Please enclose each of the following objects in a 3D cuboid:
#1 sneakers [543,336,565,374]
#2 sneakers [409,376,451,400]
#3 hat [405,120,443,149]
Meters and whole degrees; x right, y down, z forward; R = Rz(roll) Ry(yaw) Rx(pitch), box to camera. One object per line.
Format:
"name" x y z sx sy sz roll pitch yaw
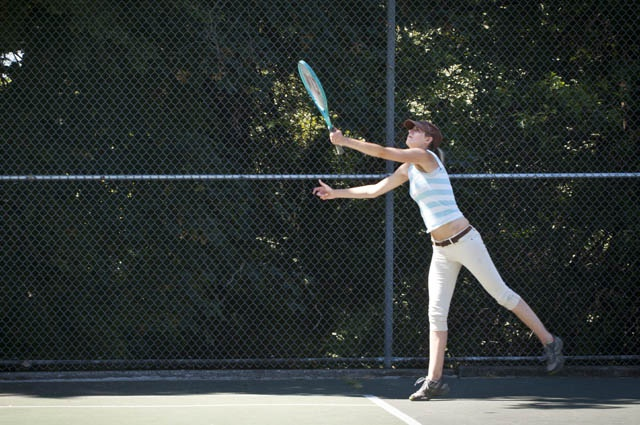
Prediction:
"sneakers" 2.365 1.448 7.209 0.170 0.149 0.423 3 83 -17
"sneakers" 1.103 1.830 7.281 0.438 0.228 0.208 -9 79 -9
"hat" 1.077 -0.848 7.459 0.372 0.245 0.205 32 87 -19
